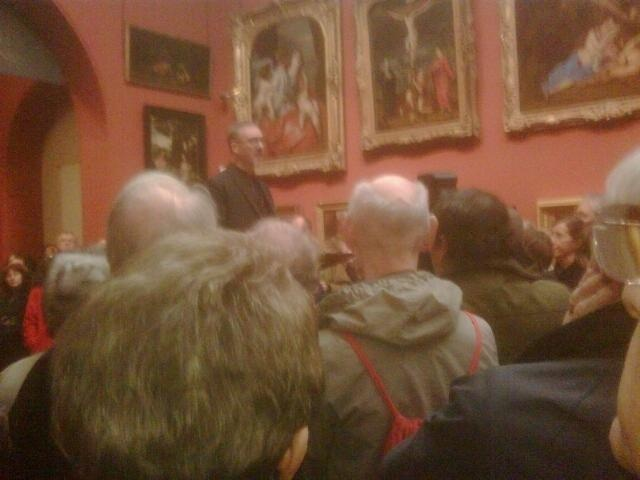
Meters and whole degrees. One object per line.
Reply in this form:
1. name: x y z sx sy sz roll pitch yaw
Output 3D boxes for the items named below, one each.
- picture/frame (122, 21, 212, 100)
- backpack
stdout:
1. picture/frame: -1.563 -1.854 6.930 0.169 0.627 1.236 -1 -1 30
2. backpack: 0.288 0.403 2.212 0.368 0.390 0.366 -11 13 -36
